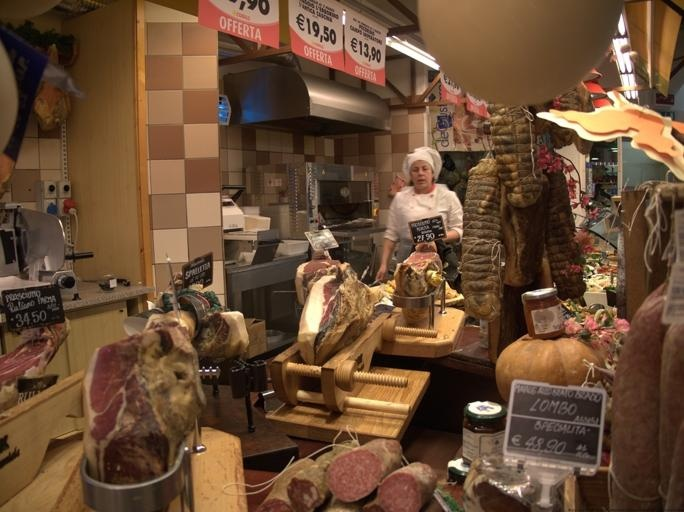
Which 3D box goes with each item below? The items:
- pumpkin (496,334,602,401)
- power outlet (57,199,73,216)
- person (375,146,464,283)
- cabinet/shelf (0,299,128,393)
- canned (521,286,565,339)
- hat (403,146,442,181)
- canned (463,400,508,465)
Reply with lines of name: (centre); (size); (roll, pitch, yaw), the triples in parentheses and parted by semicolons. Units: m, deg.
pumpkin: (0.644, 0.335, 1.563); (0.247, 0.257, 0.258); (-3, -5, 29)
power outlet: (-1.960, -0.348, 3.487); (0.107, 0.118, 0.089); (-5, 7, -31)
person: (0.632, -0.348, 4.005); (0.667, 1.076, 1.186); (0, 7, 13)
cabinet/shelf: (-1.529, 0.490, 2.990); (0.135, 0.402, 0.530); (2, 7, 28)
canned: (0.641, 0.180, 1.621); (0.150, 0.184, 0.158); (-5, 6, 20)
hat: (0.675, -0.830, 4.083); (0.259, 0.327, 0.318); (2, -28, 15)
canned: (0.385, 0.465, 1.358); (0.129, 0.161, 0.121); (1, 4, 29)
